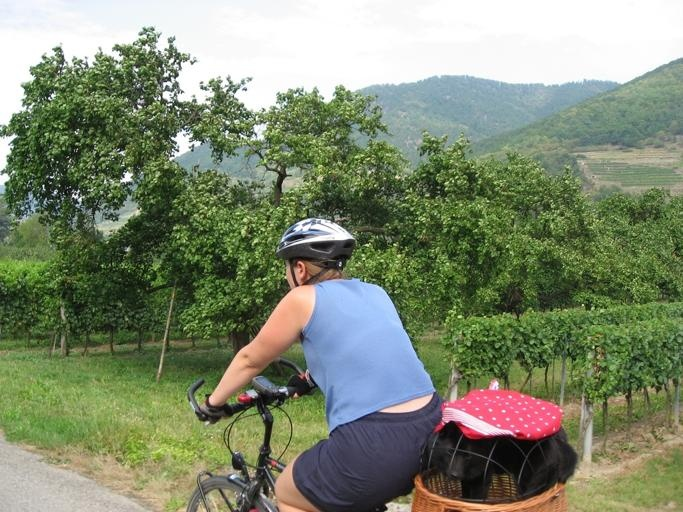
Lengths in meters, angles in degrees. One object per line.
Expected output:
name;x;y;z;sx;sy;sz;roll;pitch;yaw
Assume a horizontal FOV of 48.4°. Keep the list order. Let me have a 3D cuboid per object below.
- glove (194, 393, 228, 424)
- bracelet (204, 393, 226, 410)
glove;-2.795;3.276;16.140;0.376;0.478;0.710;7;-2;-37
bracelet;-2.682;3.084;15.985;0.377;0.192;0.297;12;9;-21
